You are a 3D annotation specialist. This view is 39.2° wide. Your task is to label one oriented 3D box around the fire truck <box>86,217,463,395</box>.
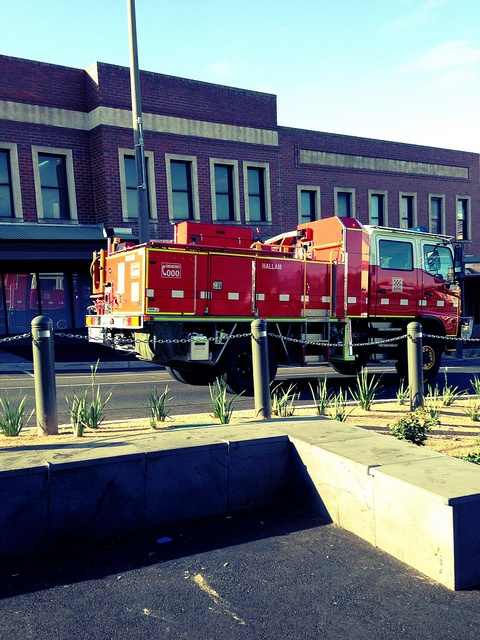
[{"bbox_3d":[1.156,-0.362,11.584,6.709,2.912,2.987,-1,1,-32],"label":"fire truck"}]
